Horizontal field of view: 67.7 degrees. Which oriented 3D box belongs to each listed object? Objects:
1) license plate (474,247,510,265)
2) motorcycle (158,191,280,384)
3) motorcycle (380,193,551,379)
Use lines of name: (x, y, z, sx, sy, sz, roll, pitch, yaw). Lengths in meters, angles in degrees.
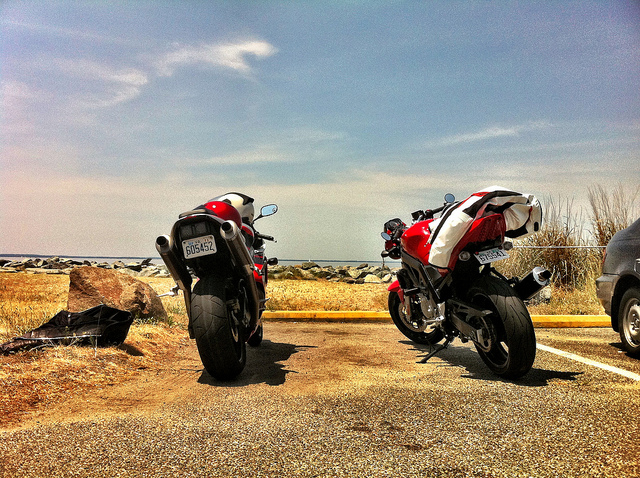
license plate: (2.033, 0.197, 5.602, 0.448, 0.205, 0.189, -1, 1, -23)
motorcycle: (-1.168, 0.509, 5.749, 1.161, 2.276, 1.962, 0, 1, -6)
motorcycle: (1.668, 0.658, 6.038, 0.914, 1.902, 2.160, -1, 1, -18)
